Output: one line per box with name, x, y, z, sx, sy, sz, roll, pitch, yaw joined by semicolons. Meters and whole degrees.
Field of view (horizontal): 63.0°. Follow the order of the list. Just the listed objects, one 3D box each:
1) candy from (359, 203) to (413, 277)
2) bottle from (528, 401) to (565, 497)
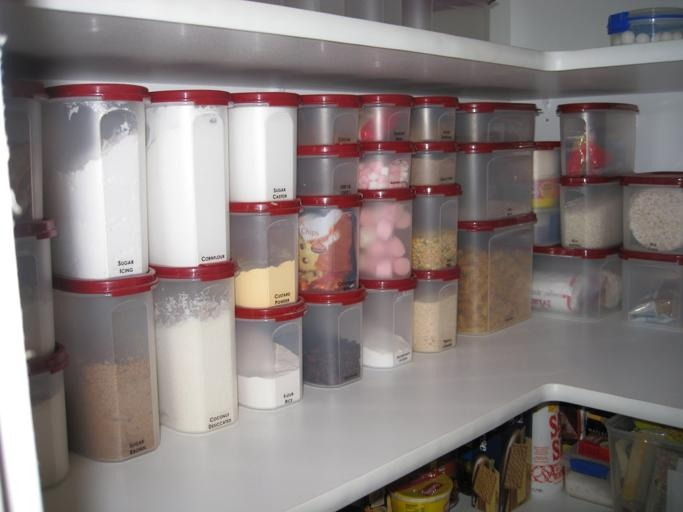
candy;0.105;-0.038;1.424;0.118;0.191;0.084;-13;22;-37
bottle;0.588;0.527;1.565;0.147;0.267;0.050;-14;13;-43
